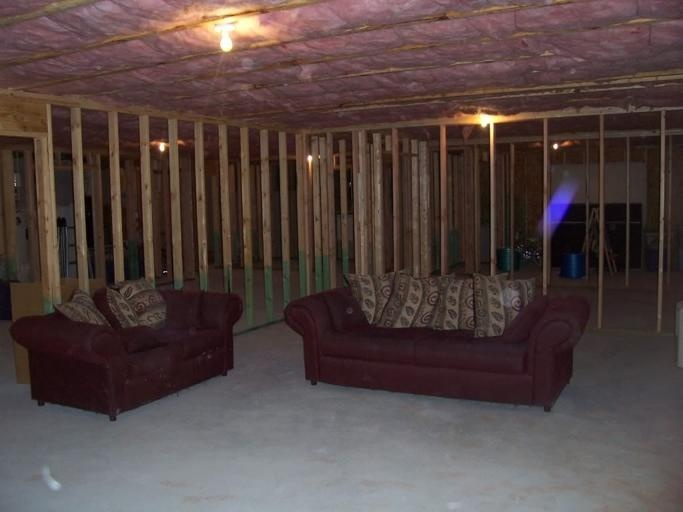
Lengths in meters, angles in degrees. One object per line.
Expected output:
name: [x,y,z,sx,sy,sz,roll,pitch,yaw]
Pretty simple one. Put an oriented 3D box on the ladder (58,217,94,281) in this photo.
ladder: [-5.789,-0.200,11.588,0.647,1.311,1.447,-6,9,-28]
